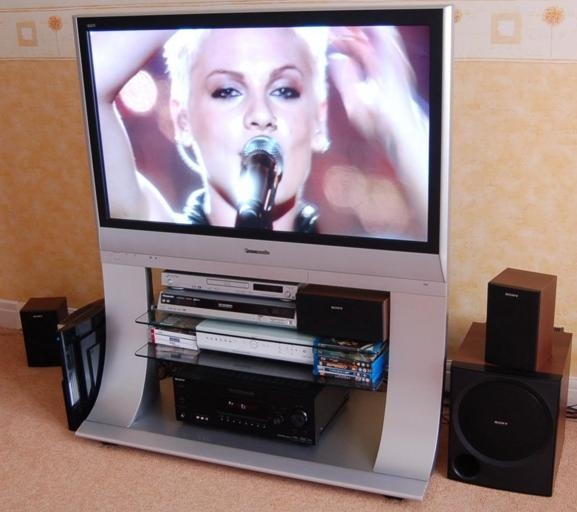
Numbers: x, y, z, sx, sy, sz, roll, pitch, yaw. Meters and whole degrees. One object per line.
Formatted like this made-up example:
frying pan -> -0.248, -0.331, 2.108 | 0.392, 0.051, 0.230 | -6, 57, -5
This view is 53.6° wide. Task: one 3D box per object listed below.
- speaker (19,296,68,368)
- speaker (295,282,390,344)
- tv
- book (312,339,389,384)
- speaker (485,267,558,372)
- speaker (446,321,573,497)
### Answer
speaker -> -1.288, 0.395, 3.045 | 0.193, 0.316, 0.262 | -2, 18, -8
speaker -> 0.198, 0.220, 2.092 | 0.343, 0.199, 0.140 | 6, 18, 16
tv -> -0.057, -0.400, 1.985 | 1.007, 0.664, 0.019 | 7, 20, 23
book -> 0.219, 0.356, 2.073 | 0.180, 0.117, 0.184 | 5, -1, -23
speaker -> 0.806, 0.214, 1.974 | 0.214, 0.295, 0.230 | 10, 20, 28
speaker -> 0.731, 0.538, 2.097 | 0.351, 0.529, 0.518 | 4, 20, 21
